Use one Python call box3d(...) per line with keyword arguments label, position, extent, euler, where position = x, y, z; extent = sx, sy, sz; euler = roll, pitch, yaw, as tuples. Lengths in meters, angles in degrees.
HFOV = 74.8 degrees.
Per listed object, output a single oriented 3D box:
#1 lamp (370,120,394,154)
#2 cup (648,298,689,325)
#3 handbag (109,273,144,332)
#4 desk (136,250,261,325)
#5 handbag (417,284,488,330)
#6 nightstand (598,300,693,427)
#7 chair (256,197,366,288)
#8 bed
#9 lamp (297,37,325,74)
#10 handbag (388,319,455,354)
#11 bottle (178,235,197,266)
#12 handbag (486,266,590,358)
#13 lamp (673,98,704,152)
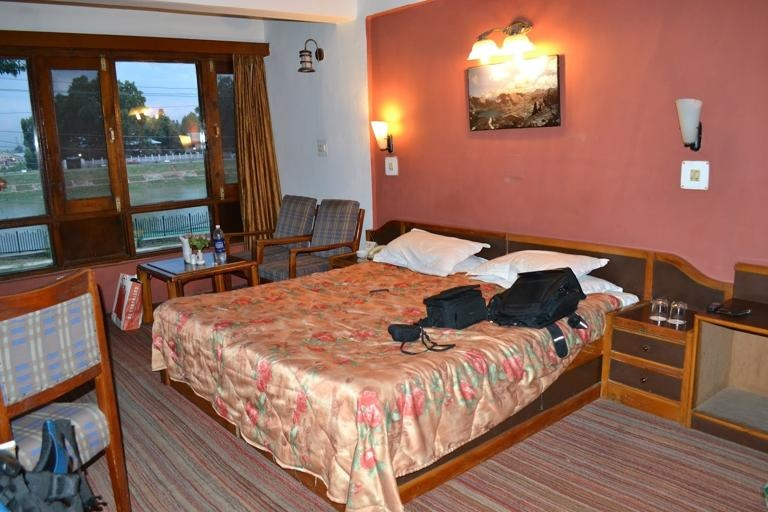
box3d(label="lamp", position=(-0.071, -1.381, 5.898), extent=(0.181, 0.368, 0.338), euler=(-14, 19, -39))
box3d(label="cup", position=(2.204, 0.413, 3.955), extent=(0.164, 0.213, 0.281), euler=(-6, 10, -37))
box3d(label="handbag", position=(-3.042, 0.555, 5.909), extent=(0.287, 0.810, 0.566), euler=(0, 7, -44))
box3d(label="desk", position=(-2.184, 0.164, 5.730), extent=(1.050, 0.799, 1.008), euler=(-11, 13, -43))
box3d(label="handbag", position=(0.490, 0.325, 3.799), extent=(0.361, 0.217, 0.354), euler=(-12, 11, -37))
box3d(label="nightstand", position=(2.099, 0.801, 4.316), extent=(0.744, 1.067, 0.777), euler=(6, 10, 42))
box3d(label="chair", position=(-0.961, -0.209, 6.196), extent=(0.903, 1.394, 1.203), euler=(11, 15, 43))
box3d(label="bed", position=(0.293, 0.726, 3.816), extent=(2.363, 1.014, 2.525), euler=(-10, 16, -42))
box3d(label="lamp", position=(-0.936, -2.561, 6.424), extent=(0.328, 0.436, 0.655), euler=(-4, 15, -9))
box3d(label="handbag", position=(0.255, 0.553, 3.502), extent=(0.370, 0.107, 0.419), euler=(-7, 16, -21))
box3d(label="bottle", position=(-2.311, -0.062, 5.876), extent=(0.171, 0.355, 0.292), euler=(-13, 21, -30))
box3d(label="handbag", position=(1.186, 0.363, 3.789), extent=(0.745, 0.345, 0.578), euler=(-8, 13, -28))
box3d(label="lamp", position=(2.371, -1.013, 3.898), extent=(0.178, 0.400, 0.225), euler=(12, 20, 41))
